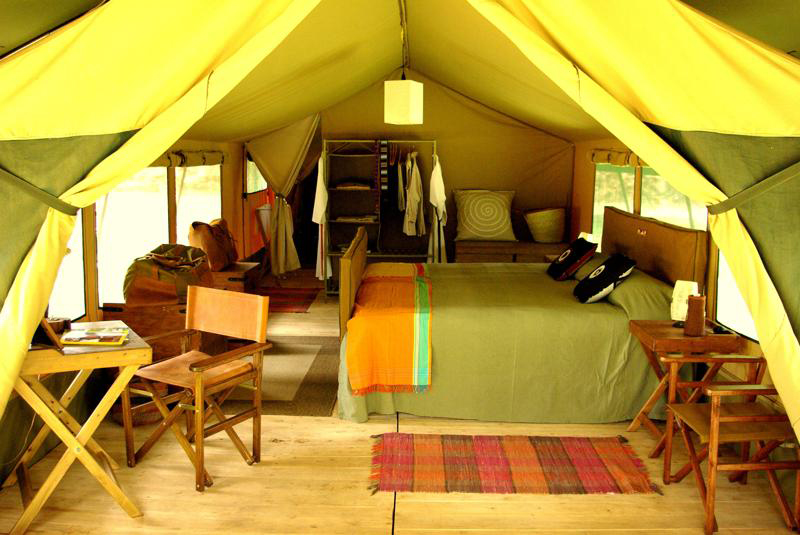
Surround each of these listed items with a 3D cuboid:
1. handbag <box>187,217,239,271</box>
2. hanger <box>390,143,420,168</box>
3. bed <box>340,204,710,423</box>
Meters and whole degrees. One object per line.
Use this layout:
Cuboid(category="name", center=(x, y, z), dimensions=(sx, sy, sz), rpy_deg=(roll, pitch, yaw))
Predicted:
Cuboid(category="handbag", center=(-1.822, -0.208, 6.059), dimensions=(0.277, 0.329, 0.617), rpy_deg=(5, 3, 8))
Cuboid(category="hanger", center=(0.019, -1.350, 7.835), dimensions=(0.396, 0.365, 0.044), rpy_deg=(-1, 10, -9))
Cuboid(category="bed", center=(1.077, 0.458, 5.051), dimensions=(2.042, 0.928, 1.915), rpy_deg=(-1, 12, 1))
